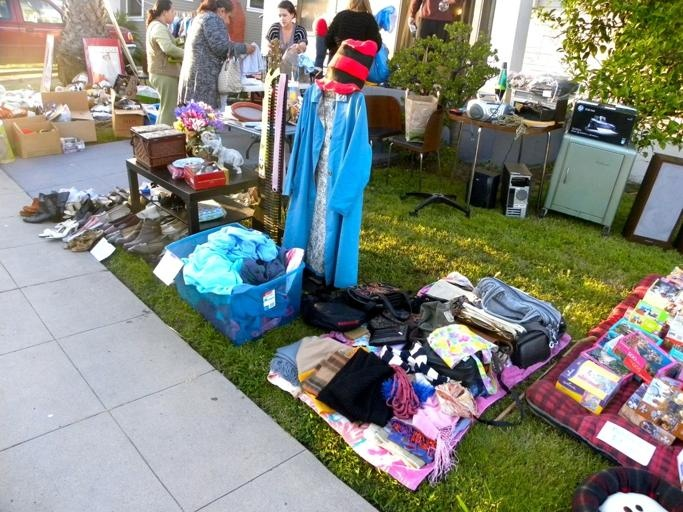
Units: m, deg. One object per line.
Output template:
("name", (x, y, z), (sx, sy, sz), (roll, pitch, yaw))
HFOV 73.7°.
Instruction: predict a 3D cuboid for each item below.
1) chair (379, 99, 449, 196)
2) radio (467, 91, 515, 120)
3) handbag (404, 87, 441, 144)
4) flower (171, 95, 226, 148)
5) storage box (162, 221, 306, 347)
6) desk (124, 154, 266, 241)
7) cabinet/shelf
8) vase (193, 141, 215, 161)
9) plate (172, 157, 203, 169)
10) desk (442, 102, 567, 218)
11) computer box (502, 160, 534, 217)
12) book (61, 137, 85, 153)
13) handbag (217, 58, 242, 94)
("chair", (0.899, -1.250, 5.429), (0.684, 1.239, 0.732), (-15, 34, -41))
("radio", (1.550, -1.560, 4.733), (0.421, 0.219, 0.248), (-13, 29, -20))
("handbag", (0.876, -1.527, 5.068), (0.394, 0.470, 0.336), (22, 30, 33))
("flower", (-1.181, -1.090, 3.809), (0.386, 0.434, 0.354), (21, 30, 32))
("storage box", (-0.799, 0.114, 3.152), (0.882, 0.386, 0.609), (24, 35, 38))
("desk", (-1.081, -0.642, 3.868), (0.792, 0.696, 1.141), (-15, 30, -37))
("cabinet/shelf", (2.572, -0.783, 4.779), (0.698, 0.890, 0.256), (15, 27, 23))
("vase", (-1.125, -0.844, 3.702), (0.148, 0.120, 0.168), (0, -2, -13))
("plate", (-1.182, -0.718, 3.549), (0.228, 0.056, 0.245), (-13, 30, -32))
("desk", (1.878, -1.266, 5.338), (1.520, 1.462, 1.181), (21, 30, 35))
("computer box", (1.914, -0.737, 5.098), (0.325, 0.584, 0.310), (9, 28, 13))
("book", (-3.309, -1.373, 5.607), (0.254, 0.154, 0.165), (-13, 30, -32))
("handbag", (-1.203, -1.920, 4.835), (0.143, 0.392, 0.249), (18, 25, 23))
